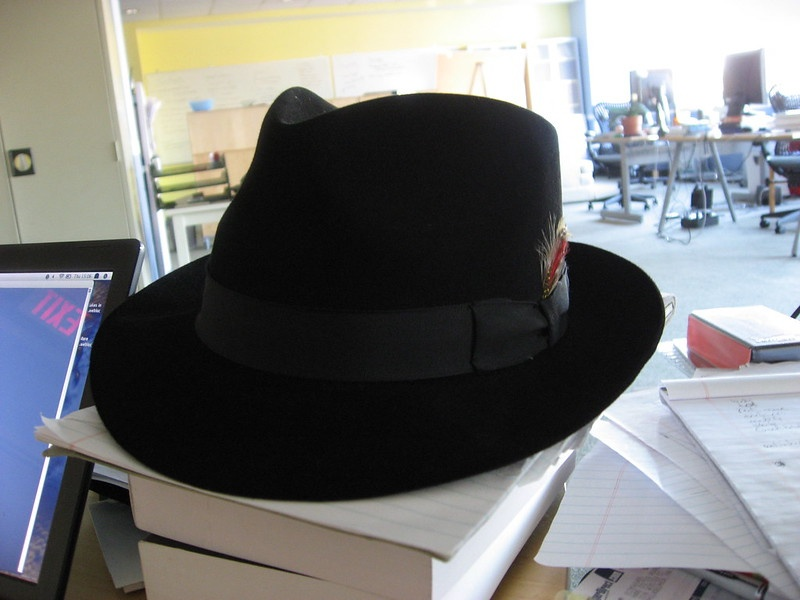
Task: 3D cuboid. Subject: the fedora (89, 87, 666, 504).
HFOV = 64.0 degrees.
[{"bbox_3d":[-0.019,-0.073,0.657,0.511,0.240,0.546,7,25,19],"label":"fedora"}]
